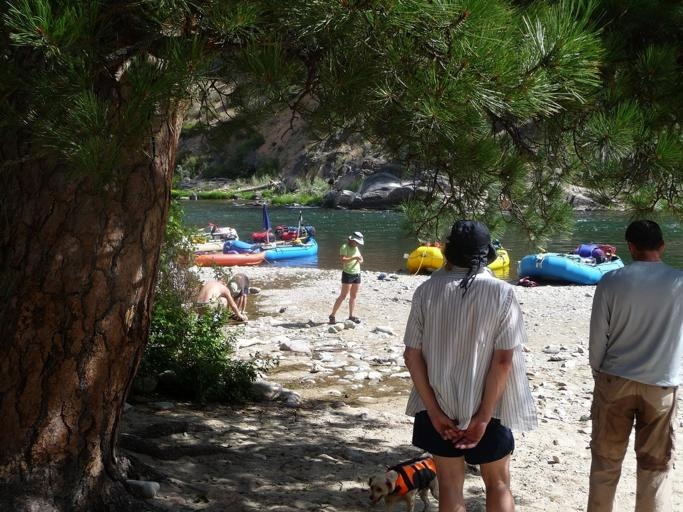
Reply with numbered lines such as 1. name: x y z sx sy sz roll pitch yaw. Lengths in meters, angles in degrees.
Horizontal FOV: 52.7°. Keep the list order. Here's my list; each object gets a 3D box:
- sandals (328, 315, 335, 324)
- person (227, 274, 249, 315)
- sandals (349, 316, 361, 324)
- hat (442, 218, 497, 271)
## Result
1. sandals: -0.203 1.302 14.149 0.168 0.210 0.496 1 -3 -6
2. person: -2.219 0.599 14.932 0.296 0.535 1.009 -3 32 -4
3. sandals: 0.272 1.315 14.145 0.274 0.121 0.103 10 8 13
4. hat: 0.785 -0.068 4.228 0.246 0.185 0.326 -1 12 -1
